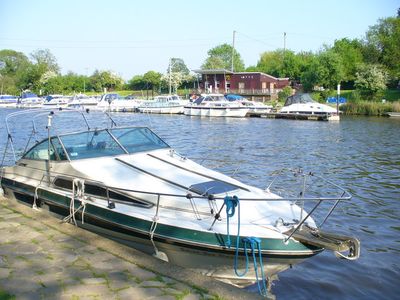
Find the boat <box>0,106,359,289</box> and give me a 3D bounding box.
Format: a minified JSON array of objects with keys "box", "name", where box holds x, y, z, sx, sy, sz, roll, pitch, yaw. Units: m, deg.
[{"box":[-0.682,1.176,9.307,9.214,2.241,3.341,14,21,30],"name":"boat"}]
